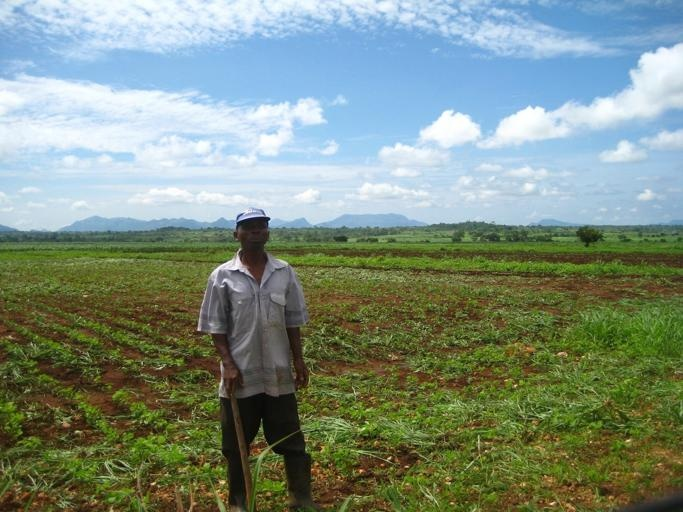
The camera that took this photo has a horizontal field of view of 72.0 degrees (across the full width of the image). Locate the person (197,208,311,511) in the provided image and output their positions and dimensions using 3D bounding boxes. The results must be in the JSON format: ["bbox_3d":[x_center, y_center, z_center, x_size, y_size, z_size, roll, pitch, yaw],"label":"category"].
[{"bbox_3d":[-0.920,1.151,5.470,0.888,3.391,0.990,-8,11,27],"label":"person"}]
